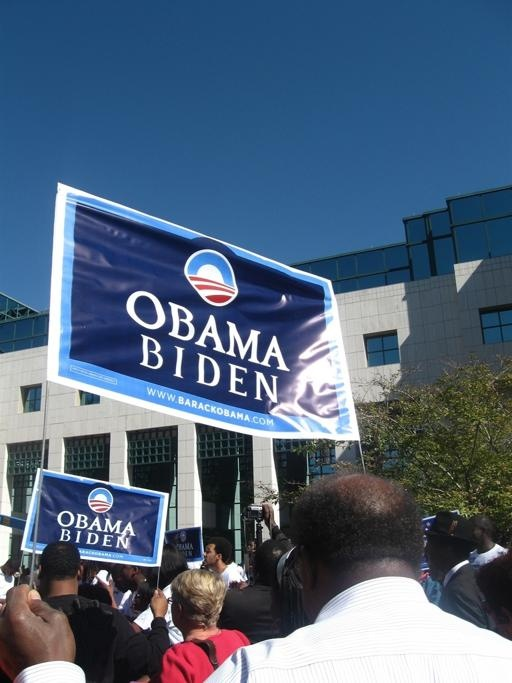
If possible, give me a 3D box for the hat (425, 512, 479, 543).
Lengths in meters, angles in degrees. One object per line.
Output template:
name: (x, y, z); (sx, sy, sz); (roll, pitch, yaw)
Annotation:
hat: (1.489, 1.380, 4.704); (0.317, 0.112, 0.243); (29, -26, -27)
